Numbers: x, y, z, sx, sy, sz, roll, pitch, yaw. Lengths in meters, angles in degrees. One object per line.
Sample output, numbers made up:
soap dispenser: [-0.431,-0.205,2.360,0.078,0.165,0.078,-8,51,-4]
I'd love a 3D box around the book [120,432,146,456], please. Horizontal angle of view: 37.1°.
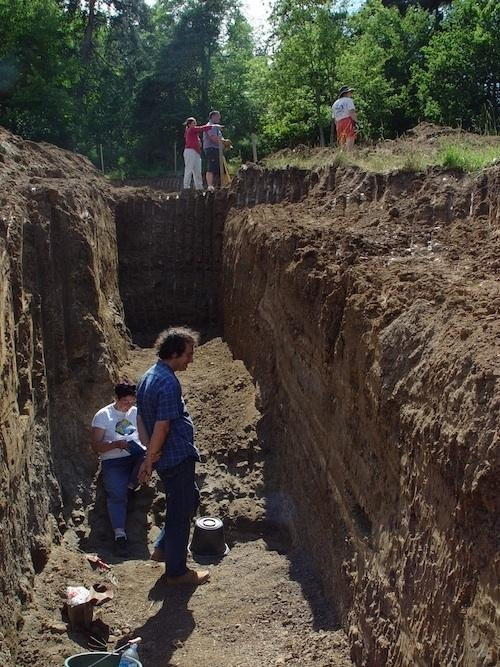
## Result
book: [-0.840,0.800,5.289,0.166,0.041,0.171,57,16,27]

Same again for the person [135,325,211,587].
person: [-0.449,0.764,4.237,0.351,1.577,0.405,-2,11,-5]

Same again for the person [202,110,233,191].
person: [-0.488,-2.579,10.579,0.365,1.018,1.111,-2,12,-2]

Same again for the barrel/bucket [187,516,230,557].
barrel/bucket: [-0.288,1.366,5.065,0.298,0.201,0.314,4,3,0]
